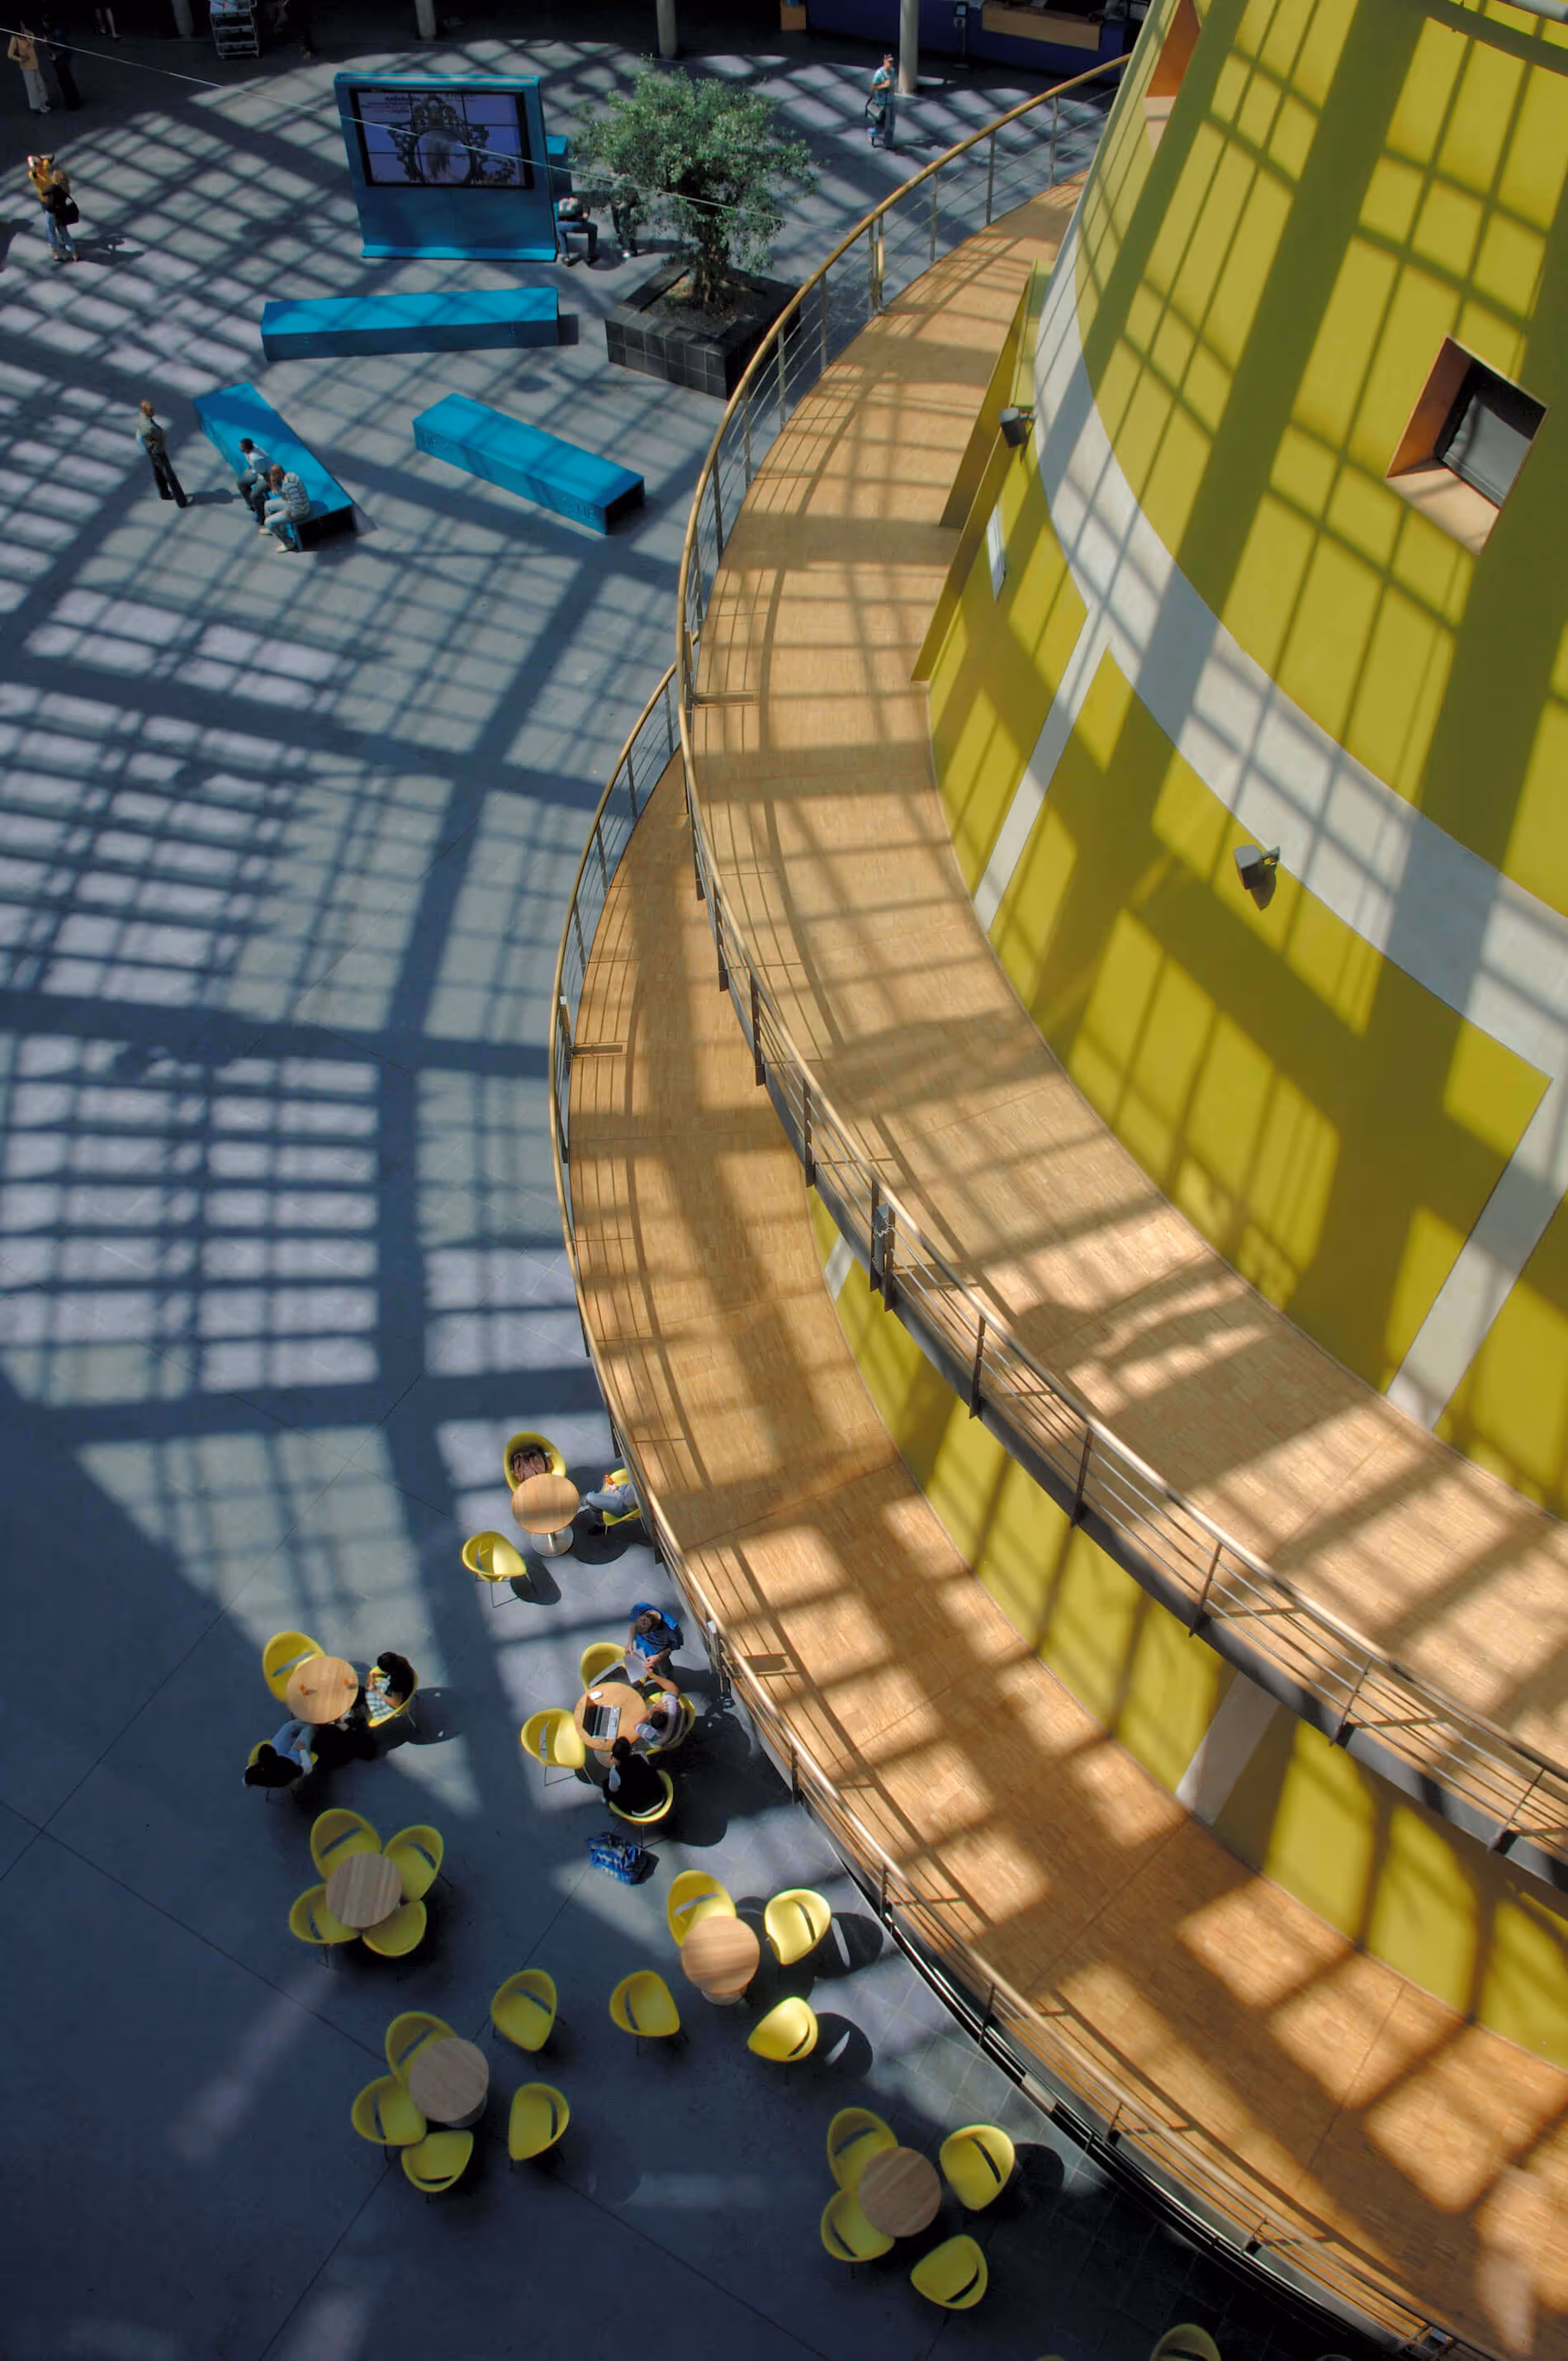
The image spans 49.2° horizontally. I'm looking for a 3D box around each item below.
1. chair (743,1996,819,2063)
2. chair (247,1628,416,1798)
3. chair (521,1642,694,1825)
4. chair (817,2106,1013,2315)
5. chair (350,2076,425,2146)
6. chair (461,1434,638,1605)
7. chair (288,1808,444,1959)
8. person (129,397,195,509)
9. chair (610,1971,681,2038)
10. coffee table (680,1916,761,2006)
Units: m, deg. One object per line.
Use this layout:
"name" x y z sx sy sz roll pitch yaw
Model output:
"chair" 0.018 4.249 8.482 0.291 0.283 0.204 -8 37 -47
"chair" -2.552 3.034 9.601 0.813 0.766 0.764 -7 6 14
"chair" -0.898 3.073 9.499 0.940 0.637 0.770 22 42 26
"chair" 0.626 4.743 7.855 0.903 0.532 0.727 6 37 7
"chair" -1.905 4.552 8.245 0.240 0.331 0.277 -27 67 14
"chair" -1.506 2.027 10.535 1.088 0.658 0.805 -23 43 -28
"chair" -2.157 3.707 8.983 0.614 0.289 0.698 -3 41 2
"person" -6.604 -7.844 18.090 0.380 1.164 1.759 -11 39 -15
"chair" -0.704 4.167 8.677 0.302 0.402 0.346 -21 65 10
"coffee table" -0.315 3.878 8.434 0.392 0.171 0.362 31 47 33
